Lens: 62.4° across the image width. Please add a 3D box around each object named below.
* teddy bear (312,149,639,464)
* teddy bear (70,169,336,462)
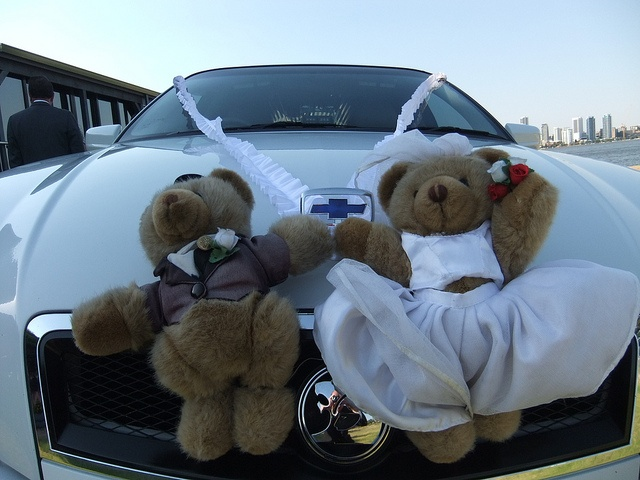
[{"bbox_3d":[0.412,0.213,1.431,0.743,0.897,0.336,-3,-8,5],"label":"teddy bear"},{"bbox_3d":[-0.313,0.240,1.438,0.590,0.674,0.238,-14,-21,-7],"label":"teddy bear"}]
